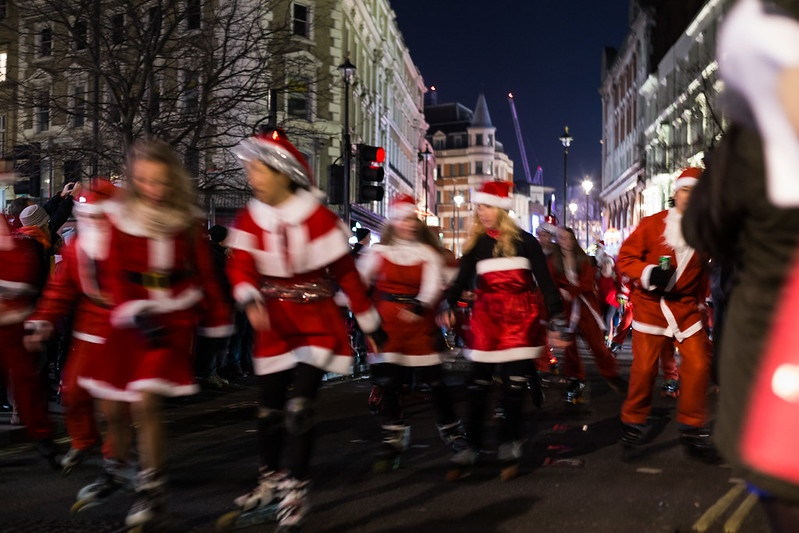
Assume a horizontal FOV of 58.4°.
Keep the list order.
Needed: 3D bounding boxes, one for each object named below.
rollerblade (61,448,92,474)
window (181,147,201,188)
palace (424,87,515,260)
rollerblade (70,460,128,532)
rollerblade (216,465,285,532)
[{"bbox_3d":[-2.798,1.678,6.211,0.103,0.146,0.307,13,24,4],"label":"rollerblade"},{"bbox_3d":[-4.803,-2.336,16.466,0.364,1.370,0.400,18,39,5],"label":"window"},{"bbox_3d":[12.306,-16.470,123.182,18.856,19.725,19.178,-4,5,-13],"label":"palace"},{"bbox_3d":[-2.266,1.631,5.314,0.192,0.267,0.598,1,3,29],"label":"rollerblade"},{"bbox_3d":[-0.866,1.620,5.059,0.769,0.309,0.249,5,-5,-43],"label":"rollerblade"}]
